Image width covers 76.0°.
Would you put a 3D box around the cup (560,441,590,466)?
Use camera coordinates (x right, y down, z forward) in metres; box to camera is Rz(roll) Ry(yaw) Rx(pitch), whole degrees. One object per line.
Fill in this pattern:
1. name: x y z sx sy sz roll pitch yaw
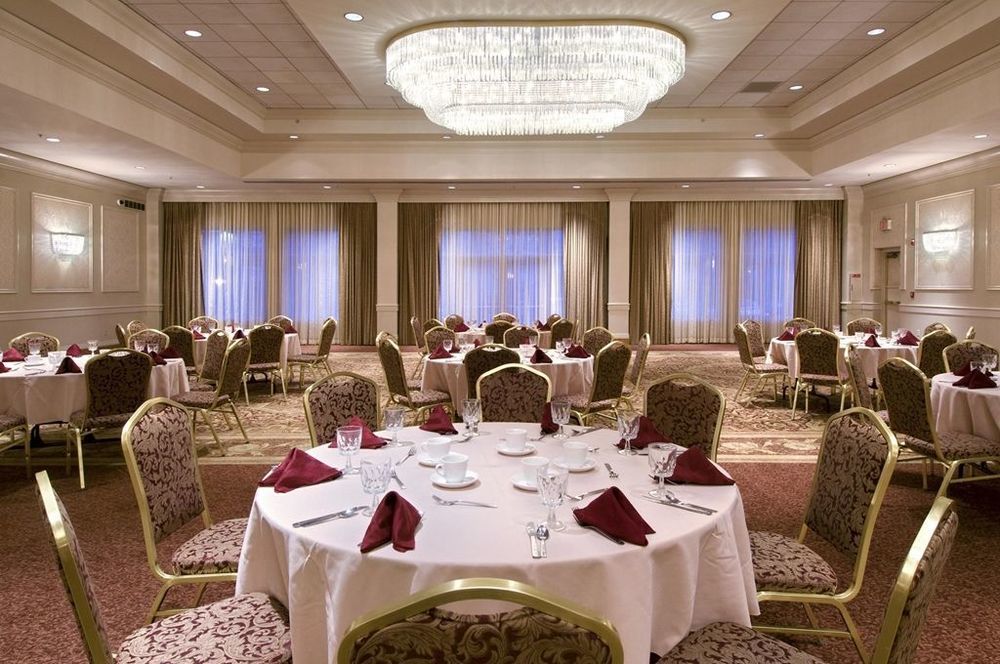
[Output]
1. cup: 0.416 0.659 3.415 0.109 0.091 0.132 0 -6 -1

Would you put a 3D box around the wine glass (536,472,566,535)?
1. wine glass: 0.240 0.753 2.955 0.124 0.279 0.242 -1 4 2

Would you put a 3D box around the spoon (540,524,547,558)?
1. spoon: 0.195 0.898 2.789 0.039 0.105 0.132 -1 4 3

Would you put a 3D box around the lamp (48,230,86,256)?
1. lamp: -7.188 -1.441 10.603 0.113 0.317 0.474 7 9 20

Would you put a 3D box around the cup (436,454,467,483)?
1. cup: -0.244 0.697 3.268 0.146 0.101 0.122 -3 6 0

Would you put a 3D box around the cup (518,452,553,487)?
1. cup: 0.165 0.683 3.191 0.150 0.115 0.152 1 7 0

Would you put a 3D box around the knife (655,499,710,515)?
1. knife: 0.869 0.836 3.082 0.282 0.031 0.075 -2 8 45

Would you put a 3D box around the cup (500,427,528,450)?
1. cup: 0.079 0.614 3.666 0.125 0.087 0.102 -5 -2 28

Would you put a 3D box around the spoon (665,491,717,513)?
1. spoon: 0.910 0.827 3.053 0.080 0.022 0.272 -16 9 -31

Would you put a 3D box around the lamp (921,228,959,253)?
1. lamp: 7.198 -1.495 10.438 0.513 0.225 0.991 3 0 21

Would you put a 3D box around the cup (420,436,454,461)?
1. cup: -0.352 0.645 3.530 0.132 0.087 0.113 -3 0 11
